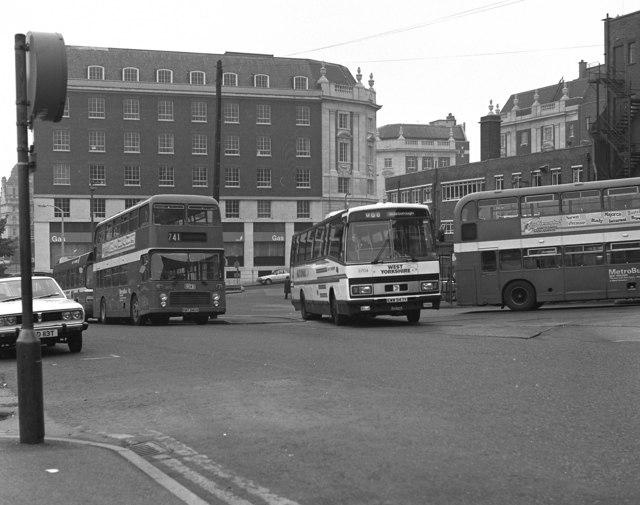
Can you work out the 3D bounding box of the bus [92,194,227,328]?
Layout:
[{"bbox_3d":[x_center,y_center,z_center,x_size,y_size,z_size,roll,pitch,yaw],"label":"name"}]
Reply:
[{"bbox_3d":[-5.751,0.427,37.305,2.931,4.602,10.038,-3,2,-22],"label":"bus"}]

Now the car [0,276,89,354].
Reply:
[{"bbox_3d":[-5.727,1.285,21.927,1.581,1.261,2.750,0,-2,-31],"label":"car"}]

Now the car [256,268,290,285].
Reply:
[{"bbox_3d":[-3.347,1.754,78.571,2.792,0.951,1.255,1,-2,-33],"label":"car"}]
